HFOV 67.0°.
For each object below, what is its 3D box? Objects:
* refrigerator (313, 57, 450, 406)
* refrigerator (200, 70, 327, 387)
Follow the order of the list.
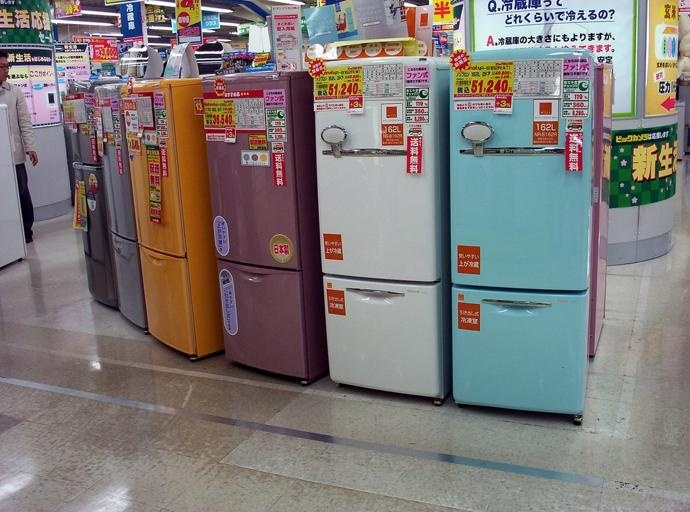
[{"bbox_3d":[0.369,-0.143,3.197,1.061,1.868,1.060,-4,11,-9],"label":"refrigerator"},{"bbox_3d":[-0.487,-0.147,3.197,0.684,1.857,0.454,-1,17,3],"label":"refrigerator"}]
